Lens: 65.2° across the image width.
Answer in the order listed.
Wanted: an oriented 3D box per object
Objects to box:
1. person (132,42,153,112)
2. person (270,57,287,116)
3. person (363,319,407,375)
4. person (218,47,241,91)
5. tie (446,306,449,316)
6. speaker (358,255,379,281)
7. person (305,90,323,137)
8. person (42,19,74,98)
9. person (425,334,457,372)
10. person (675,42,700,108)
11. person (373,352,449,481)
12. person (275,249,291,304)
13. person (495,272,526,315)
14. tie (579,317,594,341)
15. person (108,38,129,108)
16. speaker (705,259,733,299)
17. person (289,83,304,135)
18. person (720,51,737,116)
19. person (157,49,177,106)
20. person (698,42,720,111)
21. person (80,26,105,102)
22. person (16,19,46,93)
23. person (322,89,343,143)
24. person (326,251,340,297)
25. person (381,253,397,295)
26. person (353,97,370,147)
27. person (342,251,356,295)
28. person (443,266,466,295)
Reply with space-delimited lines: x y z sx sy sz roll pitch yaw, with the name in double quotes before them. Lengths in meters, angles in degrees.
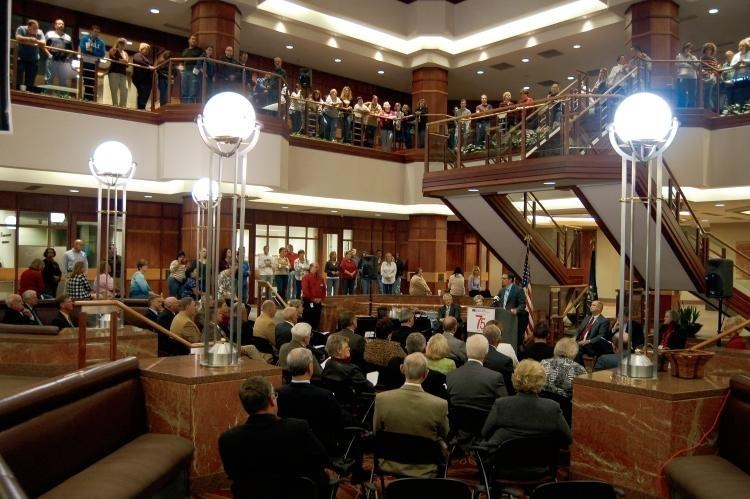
"person" -5.487 -3.946 13.753 0.354 1.474 0.432 -1 0 18
"person" -2.483 -4.240 15.026 0.391 1.407 1.217 -1 0 -8
"person" 0.152 1.448 8.545 0.730 0.830 0.433 2 1 20
"person" -3.575 -4.459 14.336 0.524 1.173 1.345 -1 0 -14
"tie" 1.496 1.268 12.124 0.117 0.200 0.318 -1 0 9
"speaker" -0.154 0.432 14.081 0.393 0.611 0.490 -1 0 -6
"person" -1.740 -3.723 16.536 0.151 1.221 0.638 -1 0 42
"person" -6.923 -4.212 12.780 0.511 1.615 0.851 -1 0 -30
"person" 0.878 1.404 7.815 0.327 0.742 0.378 4 32 9
"person" 7.316 -4.112 13.705 0.468 1.556 0.938 -1 0 28
"person" 0.418 1.756 6.550 0.818 1.257 0.946 3 7 11
"person" -2.607 0.671 16.479 0.454 1.454 0.615 -1 0 -9
"person" 2.860 0.907 12.341 0.604 0.860 1.184 -1 0 9
"tie" 3.956 1.504 10.939 0.096 0.390 0.275 35 -17 -6
"person" -5.914 -4.023 13.484 0.440 1.548 0.439 -1 0 -24
"speaker" 5.885 0.492 9.997 0.376 0.683 0.500 -1 0 29
"person" -2.160 -3.934 16.201 0.414 1.383 0.985 -1 0 -7
"person" 8.260 -3.988 13.728 0.384 1.314 0.313 1 10 22
"person" -5.006 -4.101 13.908 0.693 1.316 0.321 -1 0 38
"person" 7.866 -4.072 13.699 0.370 1.593 0.728 -1 0 30
"person" -6.513 -4.274 13.501 0.498 1.706 1.289 -1 0 -26
"person" -7.343 -4.189 12.441 0.529 1.537 0.929 -1 0 -32
"person" -1.252 -3.902 17.023 0.404 1.482 0.723 -1 0 23
"person" -1.263 0.705 17.194 0.412 1.272 0.304 -1 0 -5
"person" 0.430 0.770 18.458 0.548 1.265 0.994 -1 0 0
"person" -0.411 -3.876 17.709 0.333 1.470 0.799 -1 0 26
"person" -0.799 0.692 17.637 0.398 1.294 0.609 -1 0 30
"person" 2.510 0.967 17.955 0.447 0.861 1.648 -1 0 7
